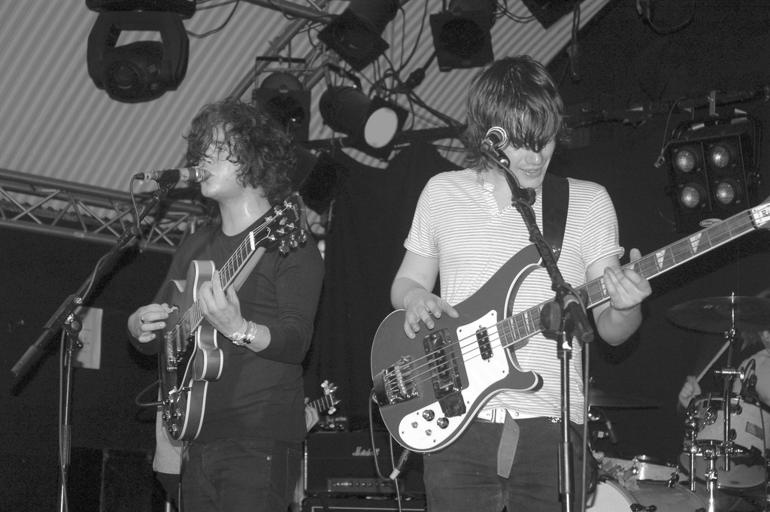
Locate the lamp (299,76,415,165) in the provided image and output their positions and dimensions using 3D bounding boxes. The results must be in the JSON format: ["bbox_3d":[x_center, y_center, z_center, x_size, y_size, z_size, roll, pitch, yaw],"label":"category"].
[{"bbox_3d":[-0.445,-1.507,10.497,0.960,0.613,0.764,-25,4,-40],"label":"lamp"}]

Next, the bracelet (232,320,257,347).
[{"bbox_3d":[-0.975,0.533,7.087,0.153,0.160,0.157,8,13,-1],"label":"bracelet"}]

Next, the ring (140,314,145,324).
[{"bbox_3d":[-1.830,0.466,7.682,0.044,0.048,0.011,0,1,7],"label":"ring"}]
